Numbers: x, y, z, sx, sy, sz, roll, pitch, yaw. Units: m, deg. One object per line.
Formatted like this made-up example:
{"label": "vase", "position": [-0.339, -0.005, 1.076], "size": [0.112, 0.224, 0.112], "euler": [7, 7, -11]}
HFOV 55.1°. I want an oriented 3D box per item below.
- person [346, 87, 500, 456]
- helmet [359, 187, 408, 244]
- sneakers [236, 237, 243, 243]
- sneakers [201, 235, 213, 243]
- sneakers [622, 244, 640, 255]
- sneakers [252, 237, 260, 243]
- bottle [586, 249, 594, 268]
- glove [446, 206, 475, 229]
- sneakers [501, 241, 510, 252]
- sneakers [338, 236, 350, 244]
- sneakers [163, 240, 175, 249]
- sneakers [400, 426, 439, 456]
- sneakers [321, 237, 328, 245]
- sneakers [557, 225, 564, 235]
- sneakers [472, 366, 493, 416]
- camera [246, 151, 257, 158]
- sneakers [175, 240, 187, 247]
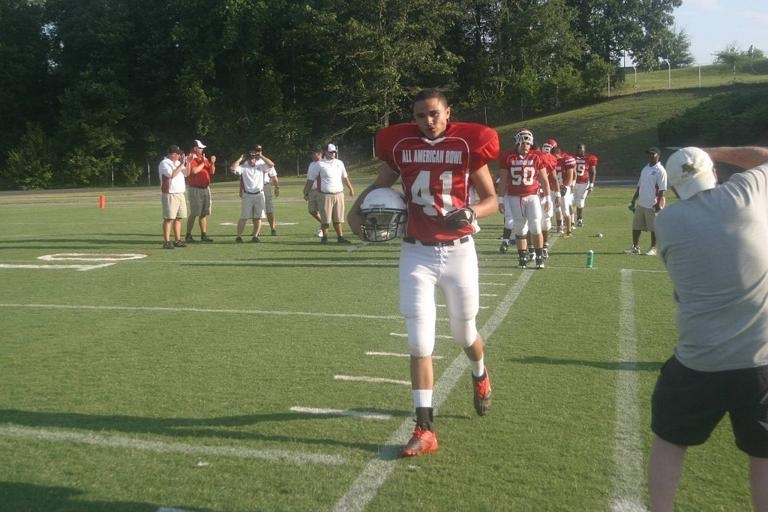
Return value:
{"label": "person", "position": [0.474, 0.110, 6.593], "size": [1.169, 3.188, 0.679], "euler": [-1, 3, -1]}
{"label": "helmet", "position": [0.001, -0.367, 6.583], "size": [0.410, 0.370, 0.507], "euler": [-1, 2, 27]}
{"label": "sneakers", "position": [-3.279, -0.367, 16.791], "size": [0.095, 0.138, 0.149], "euler": [1, -6, -12]}
{"label": "sneakers", "position": [-4.080, -0.400, 16.994], "size": [0.342, 0.190, 0.118], "euler": [-1, 18, -8]}
{"label": "sneakers", "position": [4.907, -0.115, 14.562], "size": [0.389, 0.165, 0.142], "euler": [5, 5, 26]}
{"label": "sneakers", "position": [-2.917, -0.373, 16.816], "size": [0.165, 0.151, 0.098], "euler": [1, -2, 15]}
{"label": "bottle", "position": [3.637, 0.052, 12.938], "size": [0.111, 0.306, 0.551], "euler": [0, 3, 14]}
{"label": "glove", "position": [0.686, -0.341, 6.394], "size": [0.234, 0.106, 0.169], "euler": [-23, 55, -42]}
{"label": "sneakers", "position": [2.512, -0.209, 15.240], "size": [0.159, 0.092, 0.331], "euler": [-1, 15, 13]}
{"label": "sneakers", "position": [-0.904, -0.365, 16.659], "size": [0.352, 0.188, 0.109], "euler": [0, 10, -3]}
{"label": "sneakers", "position": [-4.602, -0.240, 15.767], "size": [0.125, 0.116, 0.317], "euler": [1, -4, -29]}
{"label": "sneakers", "position": [0.331, 1.610, 6.375], "size": [0.157, 0.186, 0.392], "euler": [-6, -7, 39]}
{"label": "sneakers", "position": [-1.310, -0.346, 16.434], "size": [0.131, 0.154, 0.409], "euler": [0, -7, -8]}
{"label": "sneakers", "position": [4.285, -0.642, 17.810], "size": [0.191, 0.227, 0.607], "euler": [-1, -4, 10]}
{"label": "sneakers", "position": [0.946, 1.271, 6.964], "size": [0.174, 0.436, 0.206], "euler": [-2, 4, 12]}
{"label": "camera", "position": [-2.966, -2.265, 16.442], "size": [0.233, 0.083, 0.228], "euler": [-7, -12, -41]}
{"label": "sneakers", "position": [-4.388, -0.273, 15.874], "size": [0.271, 0.106, 0.094], "euler": [5, 16, 14]}
